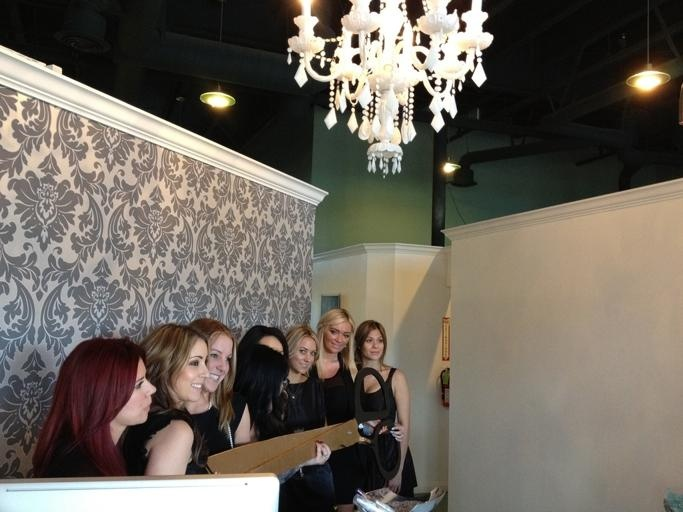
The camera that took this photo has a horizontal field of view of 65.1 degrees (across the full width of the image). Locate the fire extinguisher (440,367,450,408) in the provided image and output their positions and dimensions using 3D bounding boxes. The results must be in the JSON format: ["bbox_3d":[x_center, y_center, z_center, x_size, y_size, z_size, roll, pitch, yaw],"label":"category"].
[{"bbox_3d":[1.230,1.584,6.412,0.100,0.473,0.208,0,-8,2],"label":"fire extinguisher"}]
